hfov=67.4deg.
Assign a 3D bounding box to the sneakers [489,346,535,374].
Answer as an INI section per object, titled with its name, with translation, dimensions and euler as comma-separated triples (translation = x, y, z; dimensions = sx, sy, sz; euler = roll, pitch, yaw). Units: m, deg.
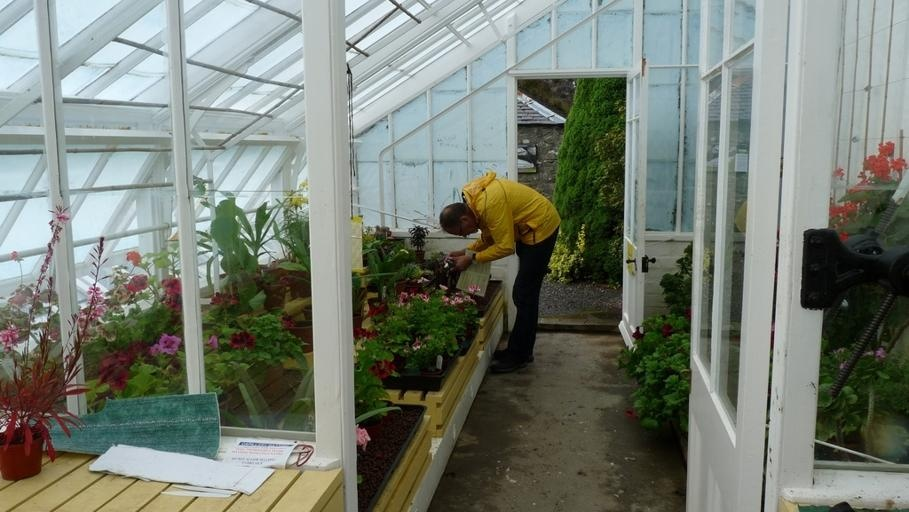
[sneakers]
translation = 0.534, 0.932, 6.147
dimensions = 0.425, 0.172, 0.168
euler = -2, 19, -19
